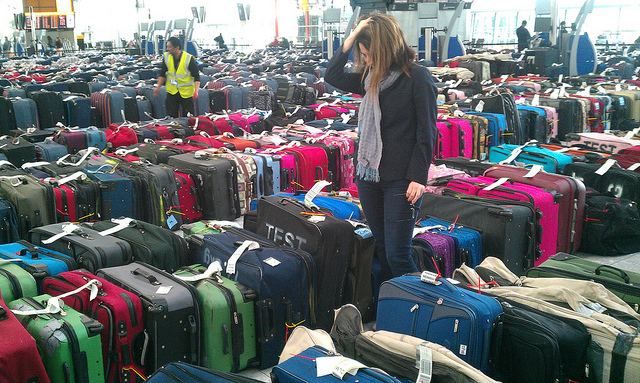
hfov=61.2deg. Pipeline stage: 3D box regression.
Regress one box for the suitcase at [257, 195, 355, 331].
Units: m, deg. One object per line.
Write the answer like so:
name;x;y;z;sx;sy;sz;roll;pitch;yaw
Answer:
suitcase;-0.268;0.593;5.399;0.395;1.077;1.157;-13;24;-40

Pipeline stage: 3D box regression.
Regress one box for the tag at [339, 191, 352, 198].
tag;0.266;0.034;6.081;0.097;0.034;0.068;6;8;22

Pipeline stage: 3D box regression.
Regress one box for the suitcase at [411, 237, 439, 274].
suitcase;0.997;0.613;5.178;0.246;0.302;0.272;2;12;11

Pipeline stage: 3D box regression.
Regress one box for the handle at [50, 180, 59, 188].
handle;-3.014;-0.084;6.112;0.087;0.037;0.029;38;36;8

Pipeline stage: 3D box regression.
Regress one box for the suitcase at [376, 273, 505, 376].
suitcase;0.937;1.033;4.361;0.954;0.765;0.320;6;14;28

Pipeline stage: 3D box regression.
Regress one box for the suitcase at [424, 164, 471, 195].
suitcase;1.448;-0.157;6.563;0.479;0.177;0.593;13;23;27

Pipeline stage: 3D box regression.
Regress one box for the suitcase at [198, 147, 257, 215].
suitcase;-1.189;-0.093;6.850;0.489;0.866;0.617;-17;20;-35

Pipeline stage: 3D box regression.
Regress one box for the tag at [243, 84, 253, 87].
tag;-1.659;-2.392;12.332;0.185;0.042;0.174;0;8;2

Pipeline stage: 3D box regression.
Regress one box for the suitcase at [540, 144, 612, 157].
suitcase;3.248;-0.550;7.236;0.391;0.101;0.379;3;4;-33

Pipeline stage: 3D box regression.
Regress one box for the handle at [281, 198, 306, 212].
handle;-0.260;0.113;5.255;0.171;0.060;0.135;24;9;1

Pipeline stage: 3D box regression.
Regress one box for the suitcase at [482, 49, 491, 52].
suitcase;6.118;-5.123;19.976;0.220;0.108;0.764;3;12;15

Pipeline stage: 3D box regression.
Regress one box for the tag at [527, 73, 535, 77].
tag;5.710;-3.123;14.679;0.184;0.053;0.130;1;0;37

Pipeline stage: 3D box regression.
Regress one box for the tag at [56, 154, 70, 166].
tag;-3.195;-0.408;6.751;0.168;0.045;0.121;-33;10;-4

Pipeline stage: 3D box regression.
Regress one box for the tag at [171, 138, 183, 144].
tag;-2.062;-0.716;7.792;0.108;0.099;0.094;1;4;-6

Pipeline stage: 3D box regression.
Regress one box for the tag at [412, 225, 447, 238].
tag;1.069;0.376;5.427;0.251;0.059;0.187;-7;6;-34

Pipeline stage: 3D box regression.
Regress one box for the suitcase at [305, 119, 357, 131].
suitcase;0.154;-1.087;8.904;0.493;0.145;0.369;15;19;42

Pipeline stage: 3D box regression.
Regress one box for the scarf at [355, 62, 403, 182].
scarf;0.477;-0.561;4.476;0.364;0.959;0.225;4;13;19

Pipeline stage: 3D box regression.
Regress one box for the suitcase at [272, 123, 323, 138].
suitcase;-0.370;-0.959;8.522;0.494;0.143;0.380;12;15;32

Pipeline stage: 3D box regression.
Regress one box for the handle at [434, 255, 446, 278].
handle;1.160;0.718;5.229;0.065;0.187;0.139;-9;14;-11

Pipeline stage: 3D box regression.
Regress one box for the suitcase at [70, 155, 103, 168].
suitcase;-3.016;-0.384;6.917;0.296;0.103;0.230;24;27;27

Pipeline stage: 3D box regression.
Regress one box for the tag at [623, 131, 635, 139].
tag;4.445;-0.803;7.774;0.108;0.098;0.337;8;14;37

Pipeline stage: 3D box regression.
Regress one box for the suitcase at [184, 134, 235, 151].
suitcase;-1.629;-0.716;7.890;0.472;0.140;0.349;23;19;32

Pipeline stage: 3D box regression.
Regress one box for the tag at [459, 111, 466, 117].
tag;2.275;-1.236;8.689;0.082;0.021;0.084;35;29;26

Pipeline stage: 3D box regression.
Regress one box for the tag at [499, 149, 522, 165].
tag;2.418;-0.436;6.932;0.512;0.156;0.078;-11;16;-42

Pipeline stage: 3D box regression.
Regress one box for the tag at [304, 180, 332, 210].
tag;-0.052;0.015;5.180;0.062;0.247;0.254;22;-15;26

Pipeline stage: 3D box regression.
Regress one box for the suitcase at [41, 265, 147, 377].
suitcase;-1.793;1.049;4.279;0.326;0.696;0.729;-10;13;-42

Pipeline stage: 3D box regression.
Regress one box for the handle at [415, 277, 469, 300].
handle;1.035;0.784;4.296;0.228;0.082;0.124;28;14;23

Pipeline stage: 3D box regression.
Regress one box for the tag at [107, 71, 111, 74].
tag;-5.752;-3.191;14.707;0.125;0.028;0.122;8;23;7

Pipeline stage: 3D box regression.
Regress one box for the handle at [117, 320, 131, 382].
handle;-1.564;1.251;4.295;0.078;0.493;0.074;-5;13;-20

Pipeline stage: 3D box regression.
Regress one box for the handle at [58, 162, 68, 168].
handle;-3.208;-0.322;6.726;0.084;0.020;0.058;28;6;-10

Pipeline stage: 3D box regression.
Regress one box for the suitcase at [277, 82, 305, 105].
suitcase;-0.612;-1.953;10.927;0.588;0.381;0.553;1;4;-44

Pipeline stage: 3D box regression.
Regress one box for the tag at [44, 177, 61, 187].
tag;-3.066;-0.129;6.151;0.162;0.071;0.114;24;18;-5

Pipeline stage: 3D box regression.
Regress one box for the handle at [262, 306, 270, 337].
handle;-0.467;1.098;4.635;0.054;0.270;0.029;-6;14;-24

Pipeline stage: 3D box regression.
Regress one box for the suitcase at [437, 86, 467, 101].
suitcase;2.821;-2.072;11.564;0.595;0.286;0.810;3;12;15

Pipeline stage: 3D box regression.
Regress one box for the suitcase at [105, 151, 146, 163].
suitcase;-2.589;-0.441;7.238;0.290;0.075;0.288;10;7;29

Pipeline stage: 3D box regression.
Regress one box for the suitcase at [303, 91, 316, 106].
suitcase;-0.180;-1.873;10.945;0.190;0.255;0.400;5;13;25

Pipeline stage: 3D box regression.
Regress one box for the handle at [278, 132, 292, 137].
handle;-0.574;-0.868;8.384;0.112;0.031;0.111;3;12;-40

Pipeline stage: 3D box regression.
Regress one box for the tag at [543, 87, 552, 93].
tag;4.603;-2.017;10.951;0.228;0.056;0.161;-11;23;-11

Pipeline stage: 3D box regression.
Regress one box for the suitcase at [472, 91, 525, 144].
suitcase;3.108;-1.193;9.237;0.662;1.084;0.826;-10;7;0

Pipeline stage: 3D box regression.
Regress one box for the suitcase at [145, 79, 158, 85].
suitcase;-3.885;-2.471;12.391;0.271;0.101;0.768;-4;12;-17

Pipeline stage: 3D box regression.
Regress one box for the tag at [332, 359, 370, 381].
tag;0.182;1.214;3.781;0.199;0.052;0.106;-21;34;-29

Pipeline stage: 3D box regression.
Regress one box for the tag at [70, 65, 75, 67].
tag;-8.599;-4.248;18.678;0.143;0.044;0.151;7;3;44
